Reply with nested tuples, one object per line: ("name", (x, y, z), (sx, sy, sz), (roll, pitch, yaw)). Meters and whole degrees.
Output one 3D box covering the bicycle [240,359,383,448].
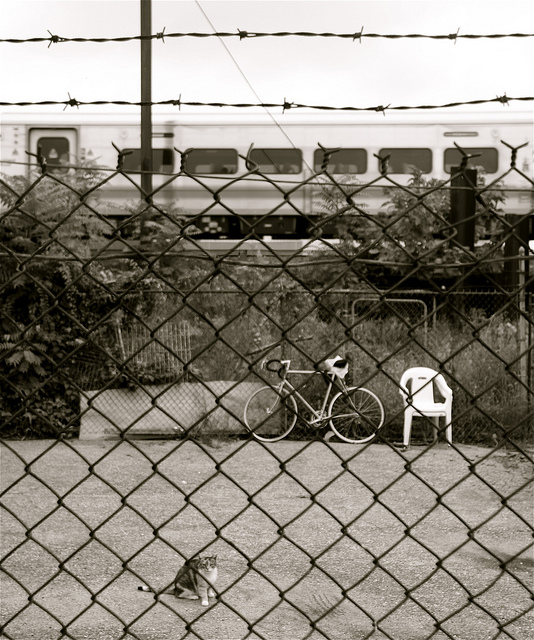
("bicycle", (0.428, 0.887, 14.506), (1.383, 0.931, 0.414), (0, 1, 12))
